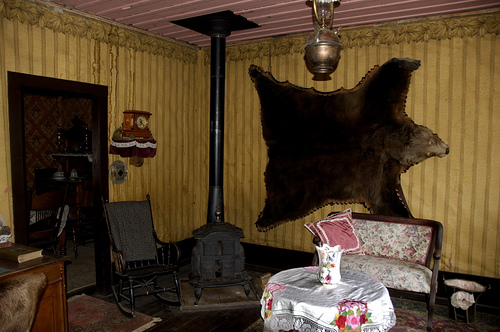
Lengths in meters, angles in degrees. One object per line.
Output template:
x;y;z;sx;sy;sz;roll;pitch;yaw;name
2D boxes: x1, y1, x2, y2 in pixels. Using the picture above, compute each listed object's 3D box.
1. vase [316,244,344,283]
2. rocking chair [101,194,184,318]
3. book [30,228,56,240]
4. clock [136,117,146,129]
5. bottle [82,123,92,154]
0.910;1.134;5.074;0.370;0.412;0.382;2;0;8;vase
-1.690;1.290;6.405;1.150;1.746;1.154;-1;3;-36;rocking chair
-3.373;1.094;6.891;0.359;0.096;0.358;-2;-3;4;book
-1.729;-0.700;6.795;0.149;0.158;0.035;-19;15;-40;clock
-3.876;-0.624;10.039;0.210;0.534;0.170;-4;7;-23;bottle
